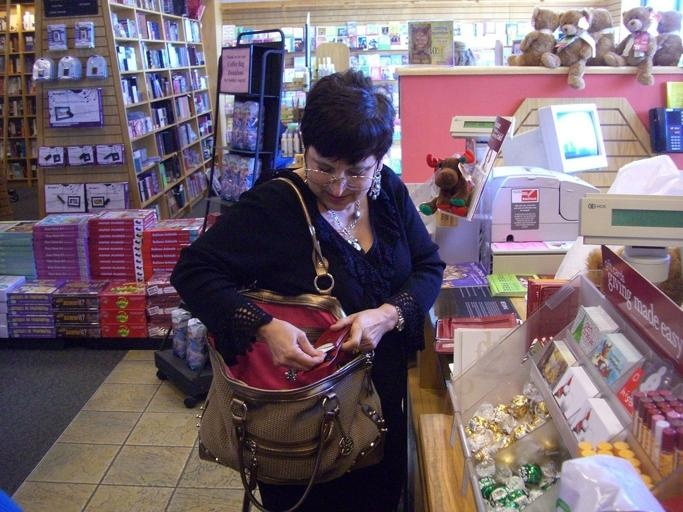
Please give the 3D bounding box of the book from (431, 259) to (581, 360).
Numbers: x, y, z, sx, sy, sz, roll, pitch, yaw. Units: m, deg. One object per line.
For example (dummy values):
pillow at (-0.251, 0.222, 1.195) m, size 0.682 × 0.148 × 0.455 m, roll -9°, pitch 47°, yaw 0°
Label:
book at (0.622, 0.230, 2.063) m, size 0.422 × 0.182 × 0.779 m, roll 2°, pitch 14°, yaw 18°

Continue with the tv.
tv at (1.332, -0.705, 3.049) m, size 0.530 × 0.429 × 0.537 m, roll -11°, pitch 9°, yaw -44°

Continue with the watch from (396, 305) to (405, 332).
watch at (0.177, 0.190, 1.447) m, size 0.023 × 0.062 × 0.048 m, roll 1°, pitch 23°, yaw -14°

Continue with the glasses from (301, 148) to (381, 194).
glasses at (-0.012, -0.227, 1.324) m, size 0.136 × 0.060 × 0.149 m, roll 7°, pitch 43°, yaw -6°

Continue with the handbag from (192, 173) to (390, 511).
handbag at (-0.128, 0.337, 1.398) m, size 0.420 × 1.068 × 0.508 m, roll 10°, pitch 18°, yaw 43°
